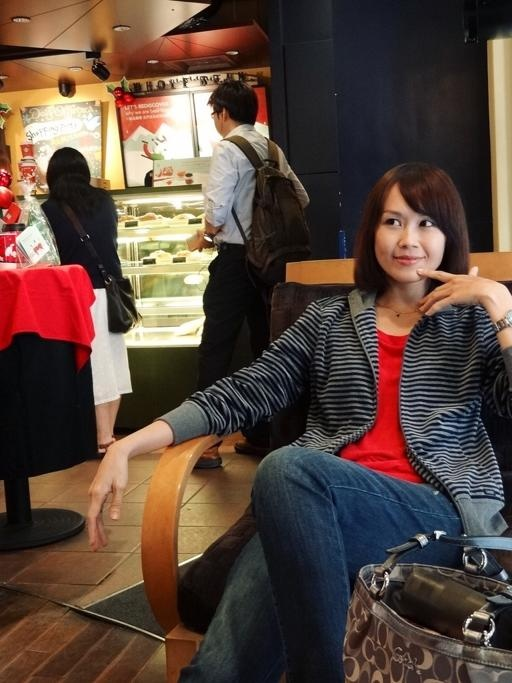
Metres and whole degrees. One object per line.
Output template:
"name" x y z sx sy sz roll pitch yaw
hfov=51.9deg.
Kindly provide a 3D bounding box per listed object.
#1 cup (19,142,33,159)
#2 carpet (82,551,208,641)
"cup" -1.827 -1.512 4.166 0.077 0.135 0.146 -5 4 -28
"carpet" -0.380 0.829 1.663 0.362 0.046 0.331 -1 6 33
